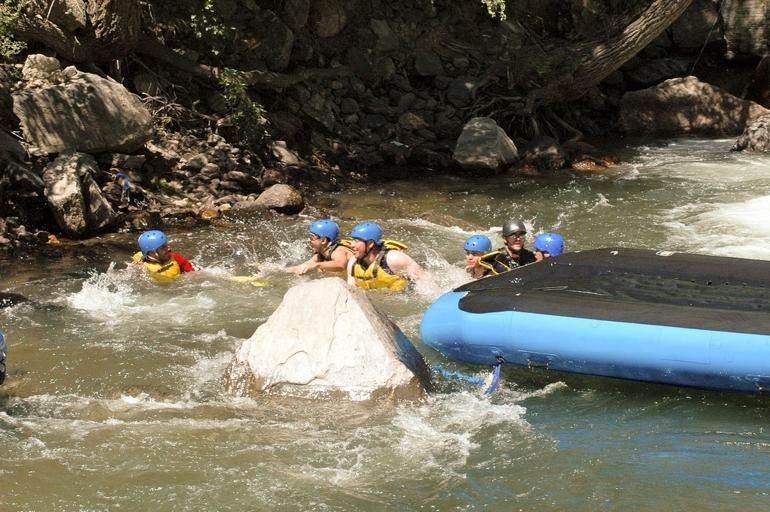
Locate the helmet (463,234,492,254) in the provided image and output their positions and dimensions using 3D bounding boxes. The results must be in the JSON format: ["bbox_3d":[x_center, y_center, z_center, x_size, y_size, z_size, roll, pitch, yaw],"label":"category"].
[{"bbox_3d":[1.483,-0.181,13.117,0.378,0.185,0.448,8,13,39],"label":"helmet"}]

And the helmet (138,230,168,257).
[{"bbox_3d":[-3.757,-0.205,13.712,0.363,0.385,0.316,5,15,40],"label":"helmet"}]

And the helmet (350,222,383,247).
[{"bbox_3d":[-0.269,-0.334,13.342,0.505,0.375,0.247,-6,12,-14],"label":"helmet"}]

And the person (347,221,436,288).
[{"bbox_3d":[-0.194,0.074,13.587,1.814,0.892,0.784,-1,4,-14],"label":"person"}]

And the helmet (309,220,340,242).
[{"bbox_3d":[-0.971,-0.425,14.247,0.626,0.288,0.373,-11,12,2],"label":"helmet"}]
